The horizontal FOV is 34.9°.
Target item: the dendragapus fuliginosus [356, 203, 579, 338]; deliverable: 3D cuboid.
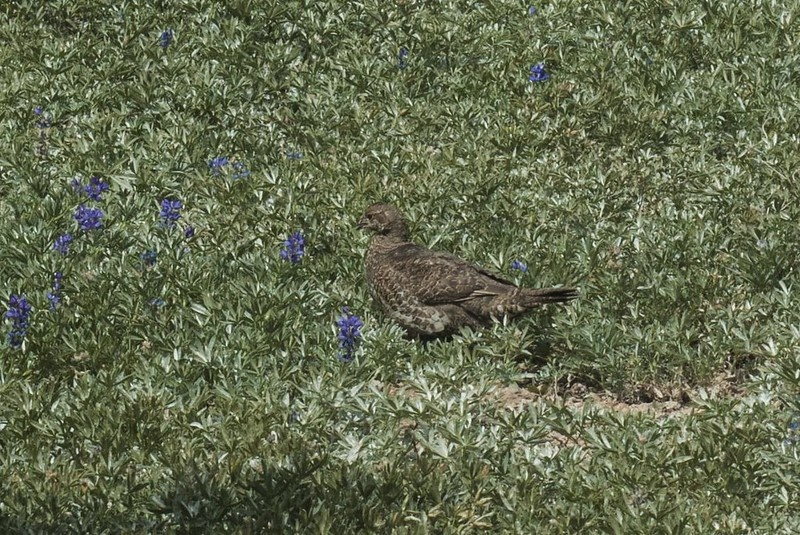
[{"bbox_3d":[0.692,0.066,12.323,2.430,0.944,1.464,3,80,13],"label":"dendragapus fuliginosus"}]
